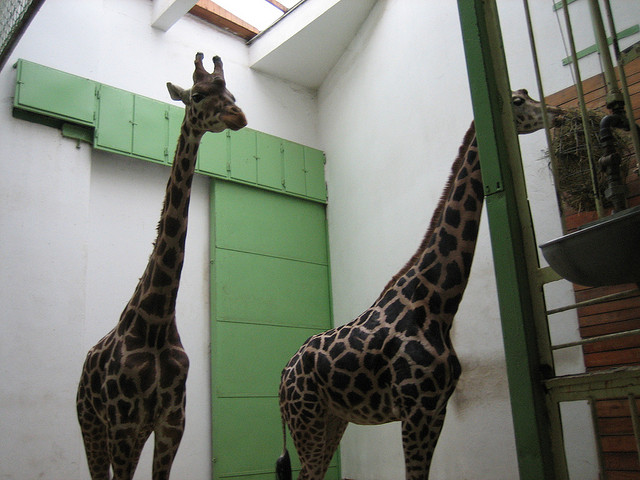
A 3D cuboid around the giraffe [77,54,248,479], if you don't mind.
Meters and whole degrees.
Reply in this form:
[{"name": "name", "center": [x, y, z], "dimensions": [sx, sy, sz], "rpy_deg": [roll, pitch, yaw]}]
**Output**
[{"name": "giraffe", "center": [-0.941, 0.181, 3.495], "dimensions": [1.157, 2.402, 0.442], "rpy_deg": [-17, -20, 41]}]
